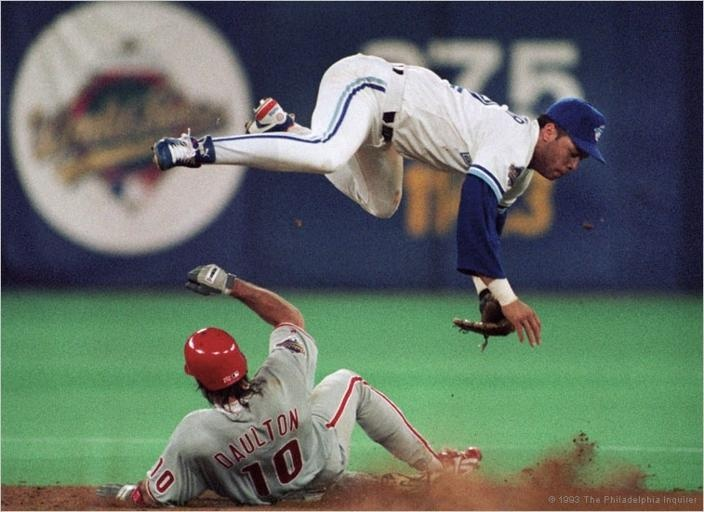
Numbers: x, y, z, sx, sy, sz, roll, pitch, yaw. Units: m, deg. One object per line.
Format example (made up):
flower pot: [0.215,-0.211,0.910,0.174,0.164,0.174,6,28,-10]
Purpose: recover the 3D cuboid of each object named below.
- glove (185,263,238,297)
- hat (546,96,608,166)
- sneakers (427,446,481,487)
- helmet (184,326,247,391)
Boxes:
glove: [-1.412,0.246,12.352,0.384,0.314,0.189,12,-3,-1]
hat: [2.402,-1.309,12.624,0.380,0.718,0.500,-47,-7,13]
sneakers: [1.096,2.149,12.554,0.414,0.204,0.301,-4,42,-8]
helmet: [-1.317,0.965,11.914,0.623,0.504,0.490,9,48,45]
